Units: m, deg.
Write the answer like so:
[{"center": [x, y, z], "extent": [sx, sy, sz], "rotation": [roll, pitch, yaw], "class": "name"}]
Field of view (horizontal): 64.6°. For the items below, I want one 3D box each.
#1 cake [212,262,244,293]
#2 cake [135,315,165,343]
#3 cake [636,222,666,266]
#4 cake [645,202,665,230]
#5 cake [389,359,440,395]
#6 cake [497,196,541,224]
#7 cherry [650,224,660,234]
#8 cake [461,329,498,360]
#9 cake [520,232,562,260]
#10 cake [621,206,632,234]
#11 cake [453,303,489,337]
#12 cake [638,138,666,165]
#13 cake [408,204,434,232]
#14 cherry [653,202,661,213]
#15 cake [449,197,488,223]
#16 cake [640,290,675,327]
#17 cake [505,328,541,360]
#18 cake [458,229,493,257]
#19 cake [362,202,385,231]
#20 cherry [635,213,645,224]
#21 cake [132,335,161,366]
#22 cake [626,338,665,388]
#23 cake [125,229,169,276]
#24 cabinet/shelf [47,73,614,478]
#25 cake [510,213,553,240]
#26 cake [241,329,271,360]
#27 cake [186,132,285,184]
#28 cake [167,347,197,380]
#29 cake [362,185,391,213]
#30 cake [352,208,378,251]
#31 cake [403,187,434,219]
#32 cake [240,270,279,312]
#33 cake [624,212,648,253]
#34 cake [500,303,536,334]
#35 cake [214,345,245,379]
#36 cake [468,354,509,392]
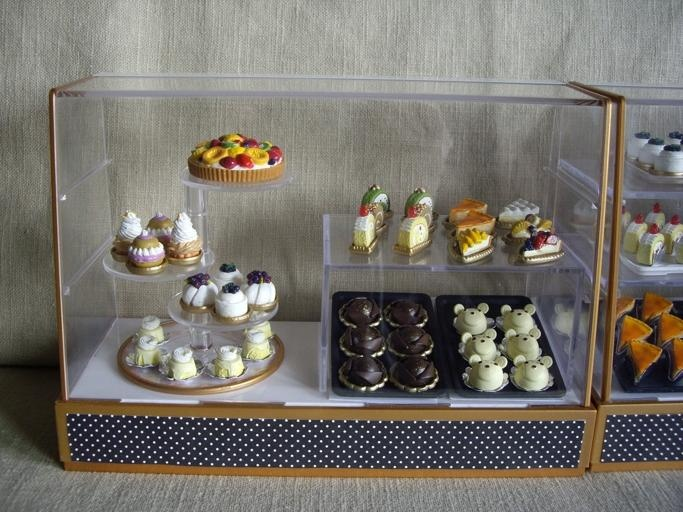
[{"center": [-0.410, 0.079, 1.950], "extent": [0.095, 0.089, 0.096], "rotation": [0, 13, -6], "class": "cake"}, {"center": [-0.739, 0.275, 2.110], "extent": [0.103, 0.097, 0.104], "rotation": [5, 11, -6], "class": "cake"}, {"center": [1.058, -0.034, 1.842], "extent": [0.113, 0.112, 0.039], "rotation": [-24, 34, -38], "class": "cake"}, {"center": [1.162, -0.146, 1.990], "extent": [0.049, 0.130, 0.094], "rotation": [5, 11, 34], "class": "cake"}, {"center": [0.255, 0.409, 1.846], "extent": [0.120, 0.044, 0.122], "rotation": [14, 33, 28], "class": "cake"}, {"center": [0.667, -0.173, 2.008], "extent": [0.121, 0.037, 0.103], "rotation": [-20, 30, -19], "class": "cake"}, {"center": [1.074, -0.093, 1.857], "extent": [0.034, 0.029, 0.034], "rotation": [-1, 6, -2], "class": "cherry"}, {"center": [0.507, 0.332, 1.957], "extent": [0.103, 0.072, 0.118], "rotation": [0, 9, 2], "class": "cake"}, {"center": [0.671, -0.026, 1.814], "extent": [0.120, 0.043, 0.090], "rotation": [-5, 40, 2], "class": "cake"}, {"center": [1.023, -0.124, 1.933], "extent": [0.044, 0.062, 0.089], "rotation": [6, 49, 35], "class": "cake"}, {"center": [0.509, 0.243, 2.103], "extent": [0.108, 0.076, 0.124], "rotation": [1, 10, 6], "class": "cake"}, {"center": [1.044, -0.353, 1.848], "extent": [0.085, 0.083, 0.086], "rotation": [-3, 27, 3], "class": "cake"}, {"center": [0.275, -0.128, 1.867], "extent": [0.071, 0.073, 0.072], "rotation": [18, -7, 39], "class": "cake"}, {"center": [1.180, -0.174, 2.016], "extent": [0.029, 0.047, 0.020], "rotation": [3, -10, 6], "class": "cherry"}, {"center": [0.481, -0.179, 2.008], "extent": [0.096, 0.042, 0.126], "rotation": [21, 34, 37], "class": "cake"}, {"center": [1.237, 0.201, 2.113], "extent": [0.090, 0.057, 0.132], "rotation": [27, 43, 31], "class": "cake"}, {"center": [0.666, 0.328, 1.980], "extent": [0.103, 0.040, 0.104], "rotation": [1, 37, 2], "class": "cake"}, {"center": [0.463, -0.051, 1.826], "extent": [0.162, 0.068, 0.075], "rotation": [-11, 26, -19], "class": "cake"}, {"center": [0.120, -0.135, 1.915], "extent": [0.023, 0.099, 0.085], "rotation": [-6, -3, 32], "class": "cake"}, {"center": [1.088, -0.136, 1.966], "extent": [0.032, 0.035, 0.032], "rotation": [-21, 30, -18], "class": "cherry"}, {"center": [-0.704, 0.350, 1.962], "extent": [0.101, 0.104, 0.099], "rotation": [2, 4, -7], "class": "cake"}, {"center": [1.075, 0.377, 1.921], "extent": [0.095, 0.040, 0.149], "rotation": [17, 48, 23], "class": "cake"}, {"center": [-0.608, -0.013, 1.739], "extent": [0.126, 0.127, 0.126], "rotation": [1, 14, -6], "class": "cake"}, {"center": [-0.024, 0.058, 1.918], "extent": [1.362, 0.967, 0.491], "rotation": [1, 13, 0], "class": "cabinet/shelf"}, {"center": [0.678, -0.106, 1.915], "extent": [0.147, 0.049, 0.080], "rotation": [-17, 29, -22], "class": "cake"}, {"center": [-0.311, 0.336, 1.990], "extent": [0.103, 0.091, 0.104], "rotation": [2, 12, 0], "class": "cake"}, {"center": [-0.340, -0.317, 1.752], "extent": [0.294, 0.120, 0.219], "rotation": [10, 27, 22], "class": "cake"}, {"center": [-0.560, 0.382, 1.936], "extent": [0.098, 0.105, 0.098], "rotation": [0, 5, -7], "class": "cake"}, {"center": [0.131, -0.208, 1.999], "extent": [0.067, 0.120, 0.105], "rotation": [16, 18, 30], "class": "cake"}, {"center": [0.086, -0.084, 1.829], "extent": [0.056, 0.107, 0.126], "rotation": [2, 18, 9], "class": "cake"}, {"center": [0.285, -0.190, 1.976], "extent": [0.109, 0.141, 0.050], "rotation": [-13, 31, -31], "class": "cake"}, {"center": [-0.283, 0.118, 1.891], "extent": [0.120, 0.128, 0.128], "rotation": [0, 12, -8], "class": "cake"}, {"center": [1.033, -0.075, 1.890], "extent": [0.045, 0.115, 0.119], "rotation": [9, 23, 39], "class": "cake"}, {"center": [0.695, 0.244, 2.122], "extent": [0.108, 0.071, 0.111], "rotation": [1, 13, 4], "class": "cake"}, {"center": [-0.394, 0.380, 1.904], "extent": [0.103, 0.074, 0.104], "rotation": [1, 13, -2], "class": "cake"}, {"center": [0.516, 0.403, 1.873], "extent": [0.167, 0.087, 0.140], "rotation": [-3, 25, -4], "class": "cake"}]
